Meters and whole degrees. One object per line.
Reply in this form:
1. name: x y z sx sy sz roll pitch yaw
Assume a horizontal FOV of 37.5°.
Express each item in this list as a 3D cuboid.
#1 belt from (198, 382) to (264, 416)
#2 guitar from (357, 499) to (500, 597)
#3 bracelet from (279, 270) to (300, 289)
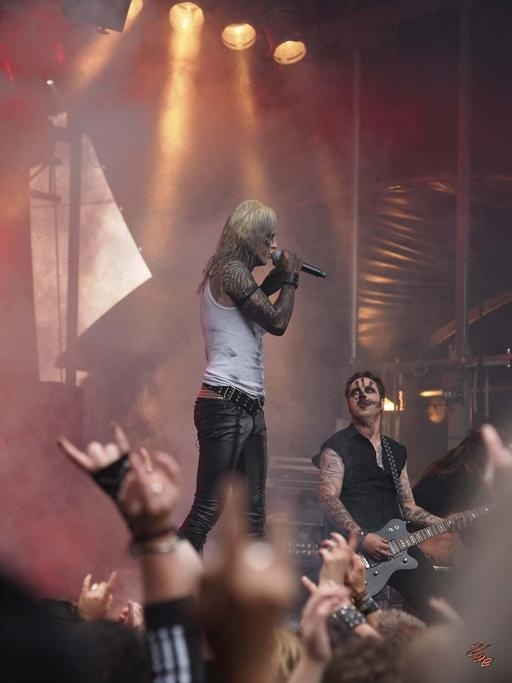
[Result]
1. belt: -0.098 0.230 3.032 0.266 0.115 0.145 5 0 -4
2. guitar: 0.826 1.004 3.633 0.933 0.265 0.091 -17 -24 -19
3. bracelet: 0.139 -0.258 3.171 0.086 0.057 0.070 1 -10 0
